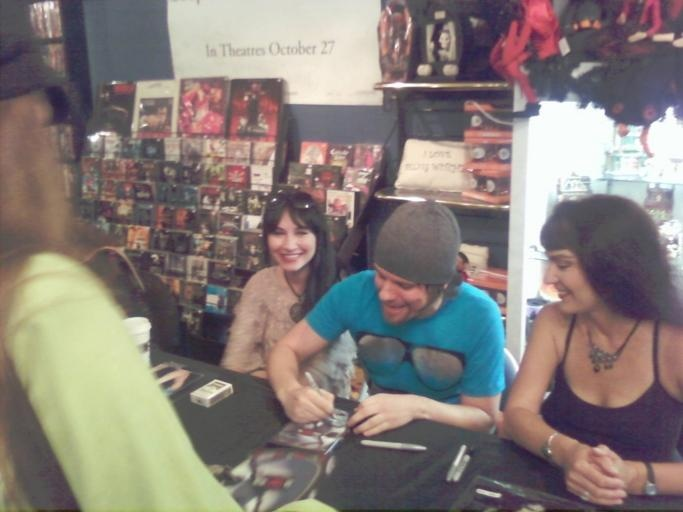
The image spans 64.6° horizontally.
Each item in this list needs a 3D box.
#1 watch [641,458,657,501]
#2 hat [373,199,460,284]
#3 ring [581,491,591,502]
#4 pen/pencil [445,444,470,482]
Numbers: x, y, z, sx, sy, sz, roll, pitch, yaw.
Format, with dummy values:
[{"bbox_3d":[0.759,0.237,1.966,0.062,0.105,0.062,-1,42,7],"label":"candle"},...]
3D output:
[{"bbox_3d":[0.510,0.376,0.891,0.023,0.042,0.041,1,-5,8],"label":"watch"},{"bbox_3d":[0.164,-0.044,1.159,0.160,0.131,0.178,25,28,29],"label":"hat"},{"bbox_3d":[0.383,0.382,0.845,0.011,0.003,0.011,-1,2,0],"label":"ring"},{"bbox_3d":[0.192,0.348,0.889,0.021,0.007,0.066,17,18,27],"label":"pen/pencil"}]
